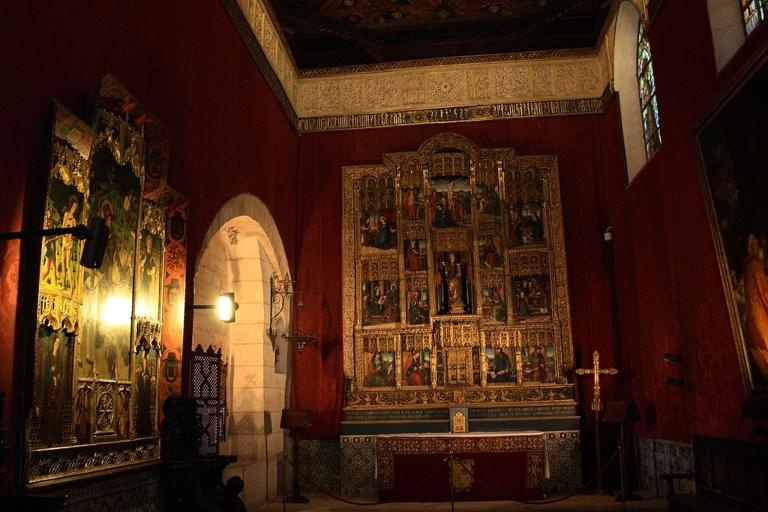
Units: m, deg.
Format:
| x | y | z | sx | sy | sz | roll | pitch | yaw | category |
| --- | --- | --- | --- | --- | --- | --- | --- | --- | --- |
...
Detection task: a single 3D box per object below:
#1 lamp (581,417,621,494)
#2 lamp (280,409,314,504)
| x | y | z | sx | sy | sz | roll | pitch | yaw | category |
| --- | --- | --- | --- | --- | --- | --- | --- | --- | --- |
| 4.973 | 4.514 | 15.606 | 0.903 | 1.699 | 0.941 | -5 | -13 | 18 | lamp |
| -2.024 | 4.518 | 15.544 | 0.686 | 1.986 | 2.132 | 0 | -12 | -6 | lamp |
